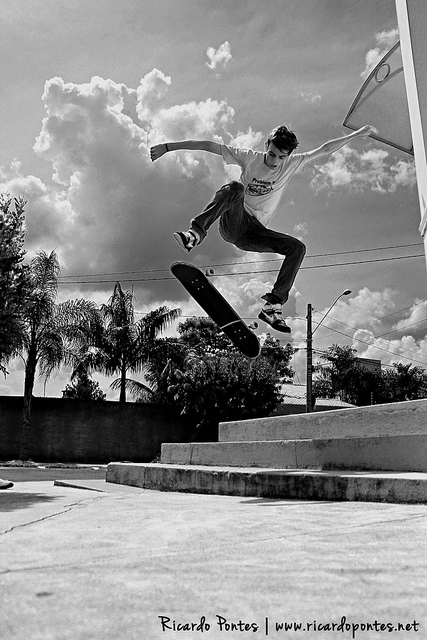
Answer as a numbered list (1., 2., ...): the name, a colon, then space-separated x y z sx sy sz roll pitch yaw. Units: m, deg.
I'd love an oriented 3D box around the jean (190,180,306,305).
1. jean: 0.304 -0.760 5.436 0.796 0.429 1.303 37 13 -7
